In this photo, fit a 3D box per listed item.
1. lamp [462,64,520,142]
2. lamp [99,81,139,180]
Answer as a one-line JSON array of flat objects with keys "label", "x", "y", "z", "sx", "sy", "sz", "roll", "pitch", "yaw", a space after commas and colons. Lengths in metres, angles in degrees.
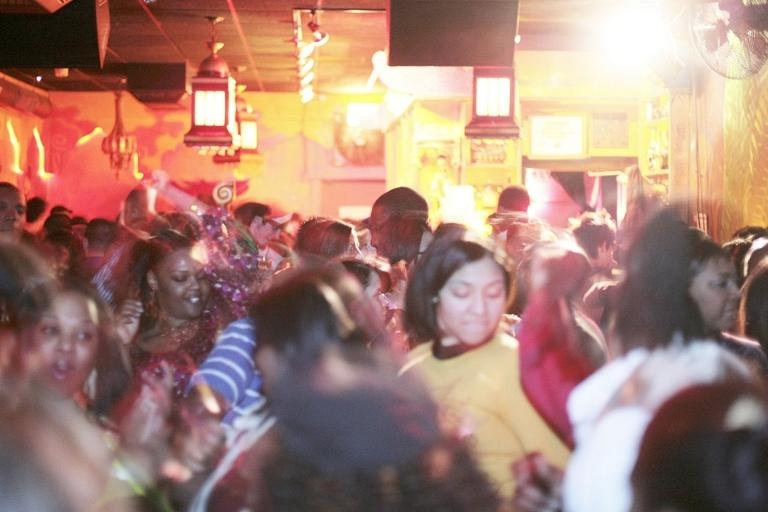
[{"label": "lamp", "x": 0.987, "y": -1.341, "z": 6.520, "sx": 0.480, "sy": 0.628, "sz": 0.531, "roll": 1, "pitch": -5, "yaw": 5}, {"label": "lamp", "x": -4.084, "y": -1.909, "z": 10.926, "sx": 0.452, "sy": 1.336, "sz": 0.969, "roll": 0, "pitch": 7, "yaw": -18}]
